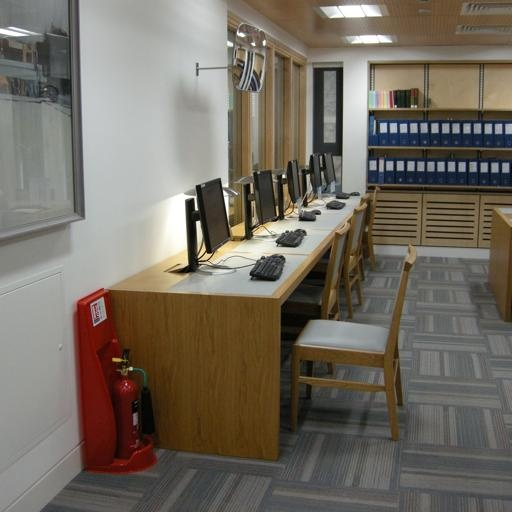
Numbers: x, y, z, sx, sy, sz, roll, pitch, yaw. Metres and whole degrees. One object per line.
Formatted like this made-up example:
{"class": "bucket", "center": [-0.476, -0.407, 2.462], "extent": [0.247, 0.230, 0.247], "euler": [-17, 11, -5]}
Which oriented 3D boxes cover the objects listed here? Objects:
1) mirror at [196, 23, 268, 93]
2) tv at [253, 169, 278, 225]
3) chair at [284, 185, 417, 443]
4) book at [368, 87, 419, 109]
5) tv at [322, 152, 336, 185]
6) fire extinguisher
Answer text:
{"class": "mirror", "center": [-0.199, -1.552, 3.323], "extent": [0.346, 0.478, 0.666], "euler": [10, 23, 16]}
{"class": "tv", "center": [0.083, -0.521, 3.809], "extent": [0.057, 0.503, 0.576], "euler": [-9, 10, 15]}
{"class": "chair", "center": [0.528, 0.336, 2.745], "extent": [0.825, 1.431, 0.826], "euler": [5, 9, 15]}
{"class": "book", "center": [2.186, -2.481, 6.705], "extent": [0.790, 0.311, 0.161], "euler": [3, 10, 13]}
{"class": "tv", "center": [1.085, -1.293, 6.288], "extent": [0.058, 0.456, 0.597], "euler": [-5, 22, 17]}
{"class": "fire extinguisher", "center": [-0.577, 0.664, 1.983], "extent": [0.181, 0.532, 0.226], "euler": [-2, 10, -16]}
